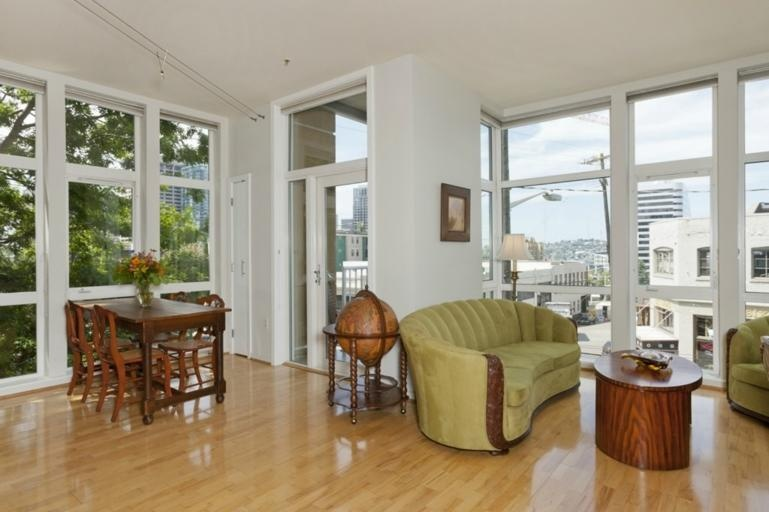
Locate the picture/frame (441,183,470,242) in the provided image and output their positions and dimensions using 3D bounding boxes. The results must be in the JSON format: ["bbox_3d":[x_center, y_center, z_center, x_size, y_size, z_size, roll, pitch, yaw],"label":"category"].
[{"bbox_3d":[0.899,-0.571,7.028,0.053,0.774,0.783,-1,-3,40],"label":"picture/frame"}]

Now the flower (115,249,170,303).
[{"bbox_3d":[-3.064,0.224,6.888,0.692,0.787,0.627,3,-1,45],"label":"flower"}]

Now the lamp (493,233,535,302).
[{"bbox_3d":[1.820,0.140,7.718,0.538,0.969,0.463,6,1,5],"label":"lamp"}]

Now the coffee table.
[{"bbox_3d":[2.631,1.521,5.402,0.977,1.176,0.607,-2,-1,20],"label":"coffee table"}]

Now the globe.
[{"bbox_3d":[-0.153,1.083,6.268,0.795,1.442,0.948,7,2,-43],"label":"globe"}]

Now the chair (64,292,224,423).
[{"bbox_3d":[-2.819,1.124,6.537,1.331,1.349,1.752,3,0,-42],"label":"chair"}]
